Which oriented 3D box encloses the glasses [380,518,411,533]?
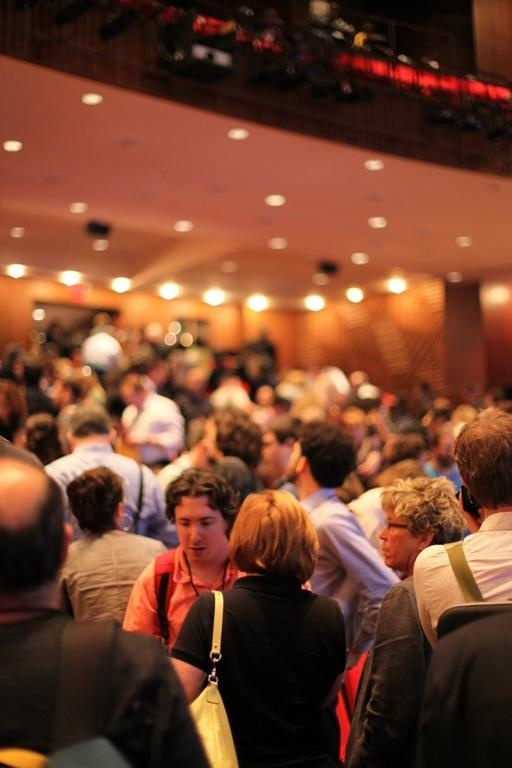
[{"bbox_3d":[0.421,0.417,1.941,0.063,0.018,0.060,9,-6,-4],"label":"glasses"}]
